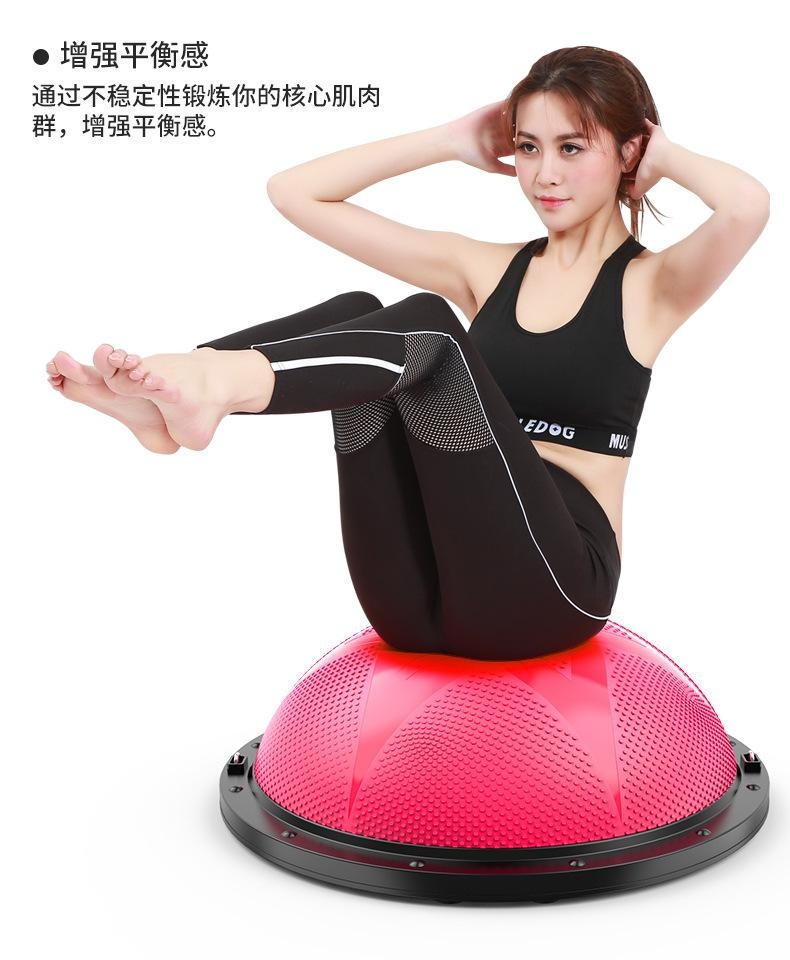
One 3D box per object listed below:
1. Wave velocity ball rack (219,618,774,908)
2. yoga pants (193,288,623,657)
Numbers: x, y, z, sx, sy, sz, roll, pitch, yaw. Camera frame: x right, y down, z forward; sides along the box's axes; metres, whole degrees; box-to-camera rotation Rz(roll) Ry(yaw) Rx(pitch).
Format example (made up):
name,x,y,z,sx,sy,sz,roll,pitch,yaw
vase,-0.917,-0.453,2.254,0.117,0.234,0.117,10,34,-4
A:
name,x,y,z,sx,sy,sz,roll,pitch,yaw
Wave velocity ball rack,0.307,0.607,2.748,1.358,0.374,1.303,11,17,23
yoga pants,0.064,0.021,2.379,1.126,0.915,0.507,-4,6,-35
